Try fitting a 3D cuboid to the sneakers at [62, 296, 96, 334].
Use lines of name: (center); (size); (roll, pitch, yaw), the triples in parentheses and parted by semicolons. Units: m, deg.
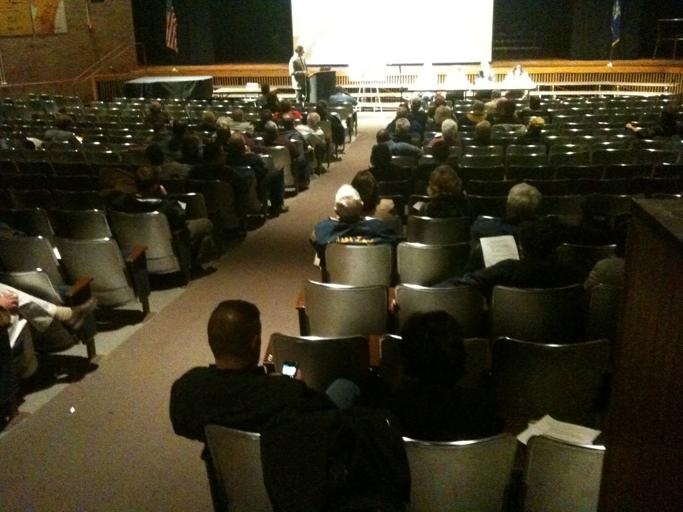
sneakers: (-2.009, 0.441, 3.870); (0.080, 0.105, 0.259); (5, 34, 9)
